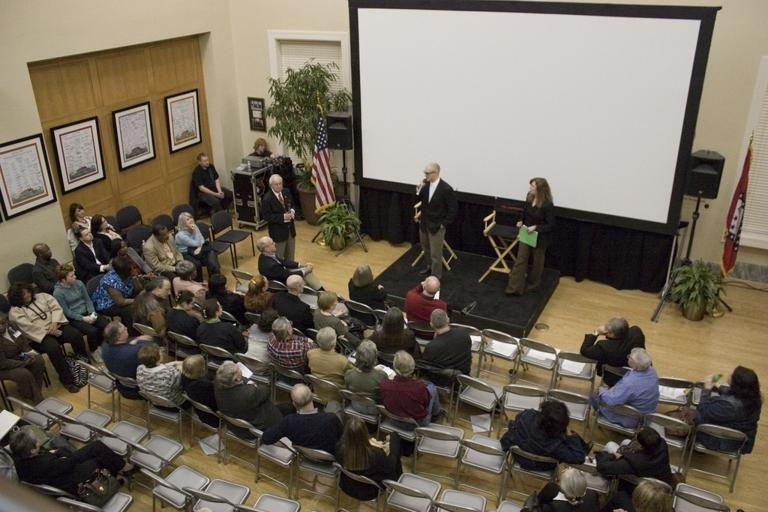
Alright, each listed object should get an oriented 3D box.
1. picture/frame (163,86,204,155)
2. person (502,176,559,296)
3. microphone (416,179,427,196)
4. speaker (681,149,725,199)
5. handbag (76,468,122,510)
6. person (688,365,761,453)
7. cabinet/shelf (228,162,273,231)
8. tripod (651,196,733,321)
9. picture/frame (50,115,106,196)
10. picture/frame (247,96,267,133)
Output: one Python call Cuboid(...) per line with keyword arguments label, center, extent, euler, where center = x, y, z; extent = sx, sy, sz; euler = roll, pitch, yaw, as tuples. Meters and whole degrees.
Cuboid(label="picture/frame", center=(-4.187, -2.848, 11.631), extent=(0.080, 1.353, 1.135), euler=(13, 24, 24))
Cuboid(label="person", center=(2.494, -0.360, 9.607), extent=(0.859, 2.258, 0.827), euler=(-15, 36, -20))
Cuboid(label="microphone", center=(0.677, -1.162, 9.673), extent=(0.084, 0.280, 0.209), euler=(32, 3, -27))
Cuboid(label="speaker", center=(5.136, -1.324, 9.159), extent=(0.510, 0.811, 0.731), euler=(9, 12, 30))
Cuboid(label="handbag", center=(-3.101, 2.518, 6.134), extent=(0.338, 0.275, 0.392), euler=(18, 25, 34))
Cuboid(label="person", center=(4.031, 1.787, 6.580), extent=(0.624, 0.994, 0.388), euler=(17, 23, 34))
Cuboid(label="cabinet/shelf", center=(-2.695, -1.212, 11.505), extent=(0.915, 1.484, 0.872), euler=(13, 25, 23))
Cuboid(label="tripod", center=(5.148, 0.035, 9.439), extent=(1.117, 1.596, 1.089), euler=(-33, 43, -33))
Cuboid(label="picture/frame", center=(-5.373, -1.774, 9.798), extent=(0.080, 1.272, 1.119), euler=(14, 28, 28))
Cuboid(label="picture/frame", center=(-2.792, -3.103, 12.385), extent=(0.478, 0.753, 0.088), euler=(13, 21, 24))
